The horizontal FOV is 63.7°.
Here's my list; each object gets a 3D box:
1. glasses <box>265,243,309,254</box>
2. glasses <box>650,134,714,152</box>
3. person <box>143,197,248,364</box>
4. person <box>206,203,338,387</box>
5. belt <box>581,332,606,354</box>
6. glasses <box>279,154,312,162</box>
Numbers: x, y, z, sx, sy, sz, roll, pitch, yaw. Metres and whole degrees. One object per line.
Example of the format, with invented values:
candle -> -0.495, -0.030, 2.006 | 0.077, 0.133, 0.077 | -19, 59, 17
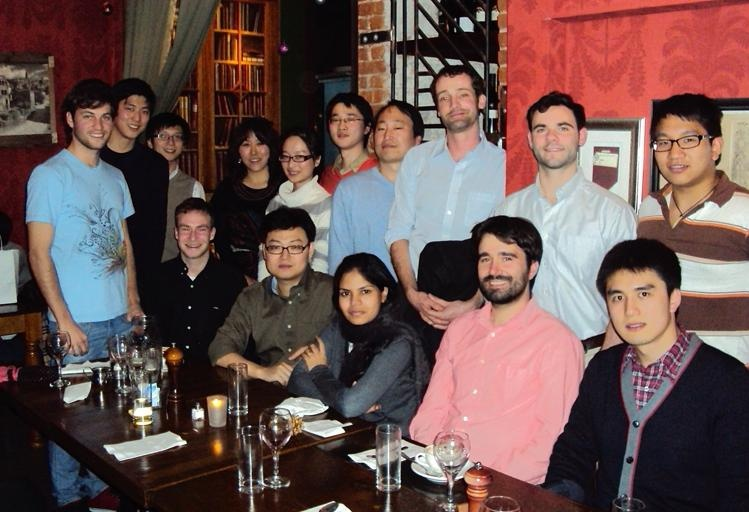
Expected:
glasses -> -0.491, -0.041, 3.336 | 0.223, 0.055, 0.060 | -2, 14, -5
glasses -> 1.341, -0.493, 2.624 | 0.234, 0.082, 0.058 | 6, 16, 24
person -> -1.120, 0.138, 3.709 | 0.913, 0.884, 0.290 | 1, -5, -14
person -> -0.562, 0.241, 3.397 | 0.887, 0.930, 0.581 | 2, 12, 8
belt -> 1.035, 0.405, 2.833 | 0.090, 0.024, 0.094 | -19, 4, 17
glasses -> -0.528, -0.656, 4.015 | 0.208, 0.051, 0.058 | 2, 15, 9
